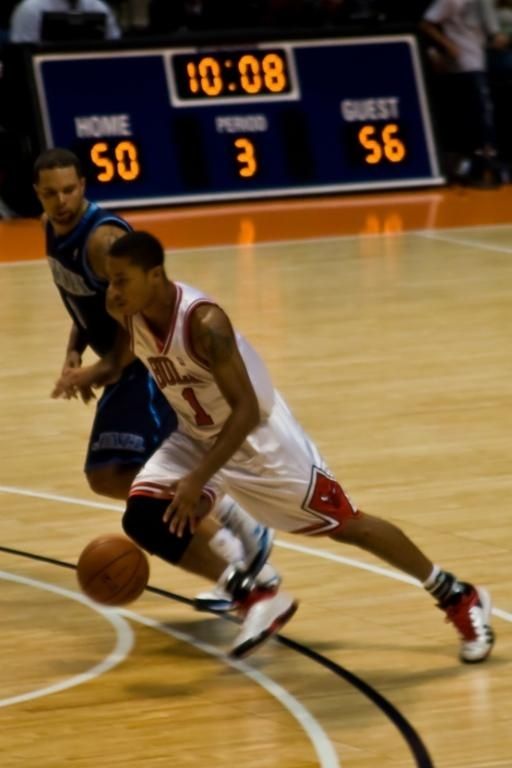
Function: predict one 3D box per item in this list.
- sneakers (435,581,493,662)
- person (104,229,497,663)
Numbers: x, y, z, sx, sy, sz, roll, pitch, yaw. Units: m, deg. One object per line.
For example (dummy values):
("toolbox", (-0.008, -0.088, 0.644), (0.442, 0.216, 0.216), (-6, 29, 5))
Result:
("sneakers", (0.477, 0.533, 1.718), (0.077, 0.142, 0.209), (-41, 20, 31))
("person", (0.087, 0.226, 1.836), (1.101, 0.910, 0.502), (13, -34, -39))
